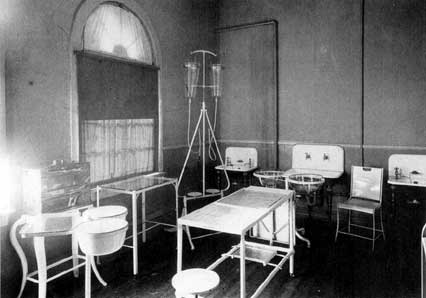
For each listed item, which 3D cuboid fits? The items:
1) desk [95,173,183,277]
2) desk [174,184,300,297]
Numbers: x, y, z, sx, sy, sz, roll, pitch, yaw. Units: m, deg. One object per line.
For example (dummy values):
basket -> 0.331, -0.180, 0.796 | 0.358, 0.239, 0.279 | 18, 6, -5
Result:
desk -> -0.874, 0.885, 3.753 | 0.441, 0.940, 0.967 | 3, 5, 20
desk -> 0.297, 0.782, 3.417 | 0.904, 1.124, 1.631 | 1, 1, 24
